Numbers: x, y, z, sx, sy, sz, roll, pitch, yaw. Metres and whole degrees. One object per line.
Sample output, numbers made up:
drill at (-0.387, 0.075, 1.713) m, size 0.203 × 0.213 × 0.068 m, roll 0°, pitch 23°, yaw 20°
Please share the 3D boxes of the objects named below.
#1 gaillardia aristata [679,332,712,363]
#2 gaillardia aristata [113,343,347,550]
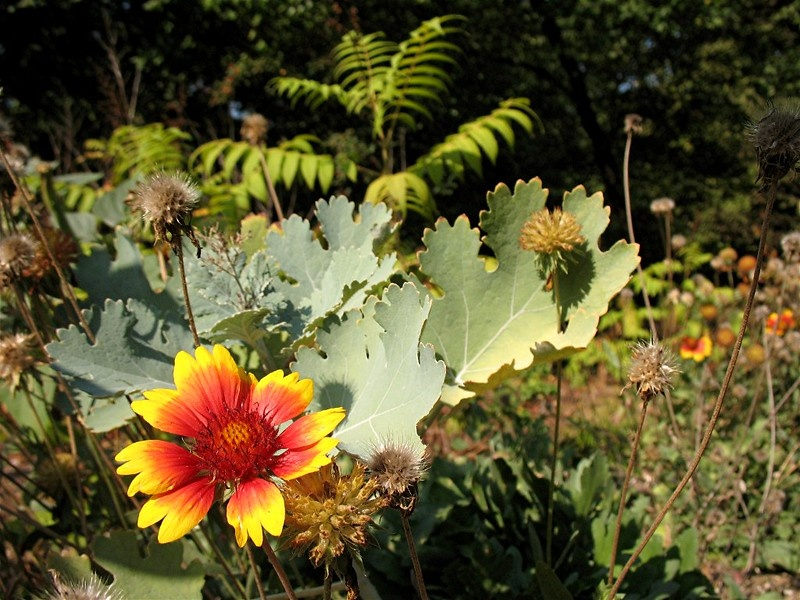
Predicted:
gaillardia aristata at (1.812, 0.285, 5.077) m, size 0.160 × 0.027 × 0.183 m, roll -2°, pitch 39°, yaw 12°
gaillardia aristata at (-0.494, 0.413, 2.427) m, size 0.642 × 0.528 × 0.276 m, roll 1°, pitch 5°, yaw 6°
